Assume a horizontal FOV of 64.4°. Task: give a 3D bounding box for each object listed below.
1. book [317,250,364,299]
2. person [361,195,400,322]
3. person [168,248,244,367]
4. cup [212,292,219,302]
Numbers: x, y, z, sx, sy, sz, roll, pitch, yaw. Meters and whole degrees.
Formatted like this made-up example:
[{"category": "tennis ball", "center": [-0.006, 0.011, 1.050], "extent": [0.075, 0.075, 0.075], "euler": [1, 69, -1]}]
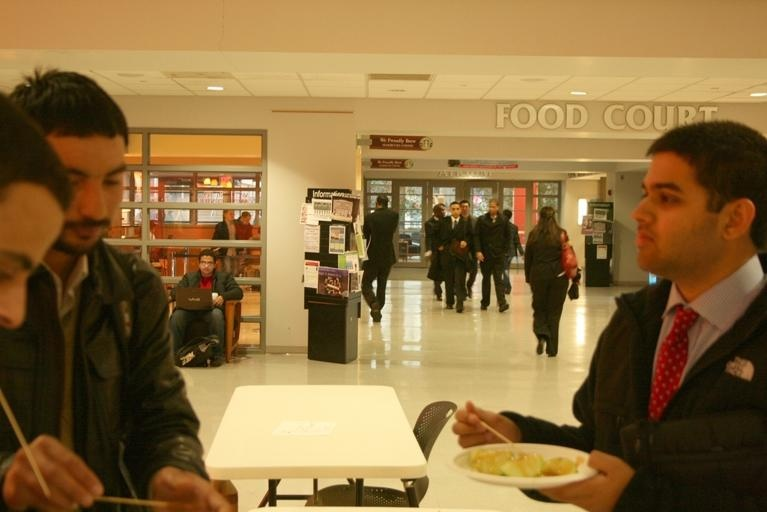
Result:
[{"category": "book", "center": [-0.437, 0.182, 7.231], "extent": [0.626, 0.609, 0.469], "euler": [1, 3, 4]}, {"category": "person", "center": [-0.069, 0.040, 9.692], "extent": [0.519, 1.962, 1.345], "euler": [2, 1, -1]}, {"category": "person", "center": [-2.030, 0.531, 6.845], "extent": [0.747, 1.073, 0.775], "euler": [3, 3, 3]}, {"category": "cup", "center": [-1.843, 0.449, 6.696], "extent": [0.084, 0.081, 0.082], "euler": [-1, -10, 0]}]
